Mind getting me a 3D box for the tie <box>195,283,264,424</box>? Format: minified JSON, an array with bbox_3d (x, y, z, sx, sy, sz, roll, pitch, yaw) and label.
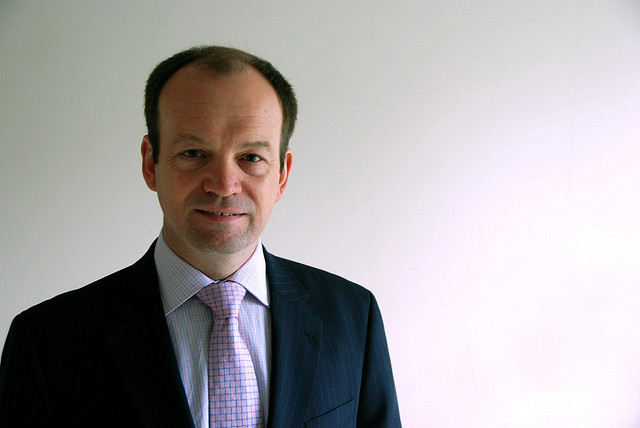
[{"bbox_3d":[-0.394,0.607,2.627,0.243,0.576,0.199,-6,-27,-6],"label":"tie"}]
